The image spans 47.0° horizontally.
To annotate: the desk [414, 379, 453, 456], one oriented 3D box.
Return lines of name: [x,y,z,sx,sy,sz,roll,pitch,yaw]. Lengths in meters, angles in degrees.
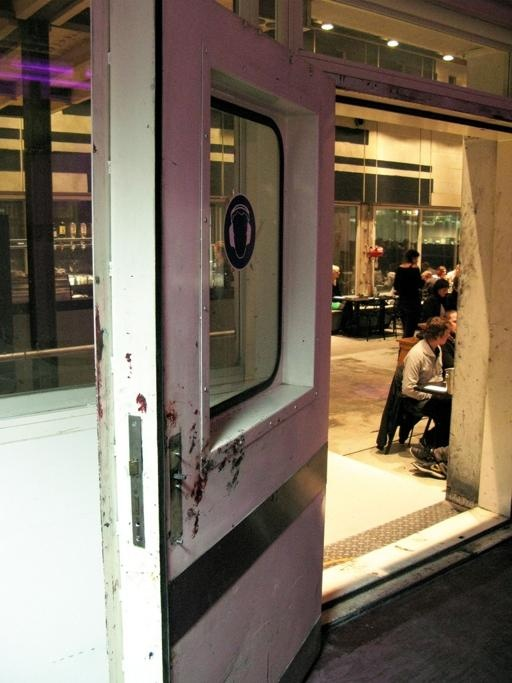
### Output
desk: [1.527,0.621,4.990,0.371,0.569,0.475,-3,4,-42]

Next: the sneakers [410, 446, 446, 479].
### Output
sneakers: [1.427,0.960,4.830,0.116,0.184,0.372,-1,10,-20]

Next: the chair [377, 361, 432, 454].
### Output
chair: [1.364,0.436,5.255,0.345,1.250,0.347,14,37,20]
